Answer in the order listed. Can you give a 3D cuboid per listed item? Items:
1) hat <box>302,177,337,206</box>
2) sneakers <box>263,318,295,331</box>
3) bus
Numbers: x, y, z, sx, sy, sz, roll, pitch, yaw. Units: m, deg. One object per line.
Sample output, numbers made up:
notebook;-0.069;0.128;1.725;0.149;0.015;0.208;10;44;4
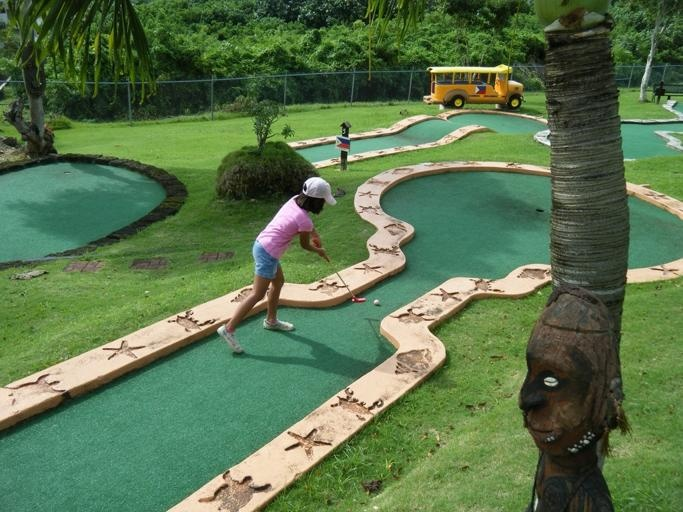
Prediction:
hat;-0.191;-0.756;5.935;0.447;0.201;0.272;7;31;-27
sneakers;-0.771;0.844;6.420;0.441;0.125;0.137;0;7;-4
bus;6.218;-7.985;24.542;4.864;1.465;1.344;-4;23;-11
